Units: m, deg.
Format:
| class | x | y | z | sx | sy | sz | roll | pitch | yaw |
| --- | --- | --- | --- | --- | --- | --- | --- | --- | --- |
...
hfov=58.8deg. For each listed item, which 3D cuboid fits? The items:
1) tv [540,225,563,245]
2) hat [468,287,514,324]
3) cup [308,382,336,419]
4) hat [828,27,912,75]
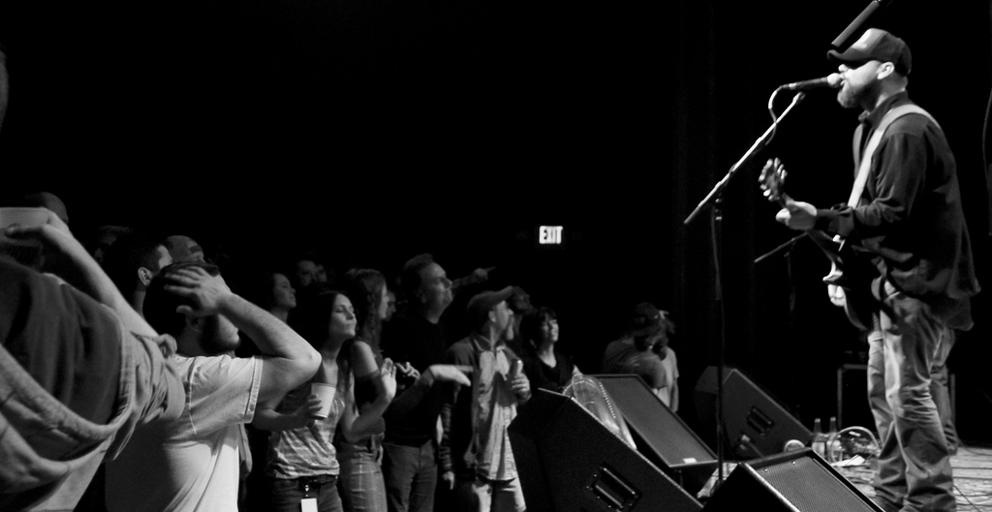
| class | x | y | z | sx | sy | sz | roll | pitch | yaw |
| --- | --- | --- | --- | --- | --- | --- | --- | --- | --- |
| tv | 0.616 | -0.230 | 9.892 | 0.264 | 0.189 | 0.026 | 3 | -32 | -4 |
| hat | -0.049 | 0.386 | 7.285 | 0.358 | 0.173 | 0.264 | -29 | -3 | -11 |
| cup | -1.187 | 0.981 | 6.004 | 0.244 | 0.226 | 0.231 | 4 | -30 | 2 |
| hat | 2.741 | -1.479 | 6.397 | 0.532 | 0.251 | 0.320 | 22 | 5 | 9 |
